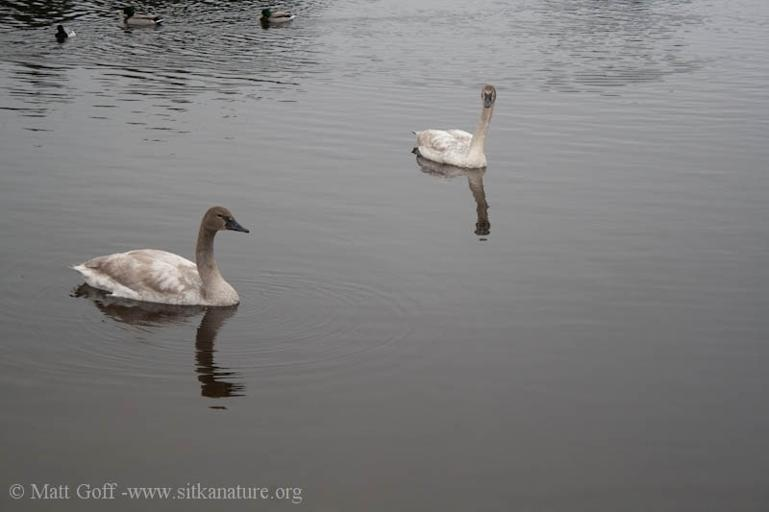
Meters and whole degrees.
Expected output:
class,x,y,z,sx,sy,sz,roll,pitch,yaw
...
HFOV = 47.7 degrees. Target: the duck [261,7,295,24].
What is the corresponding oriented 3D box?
class,x,y,z,sx,sy,sz,roll,pitch,yaw
duck,-5.793,-12.709,46.609,1.509,0.747,0.561,0,36,-13
